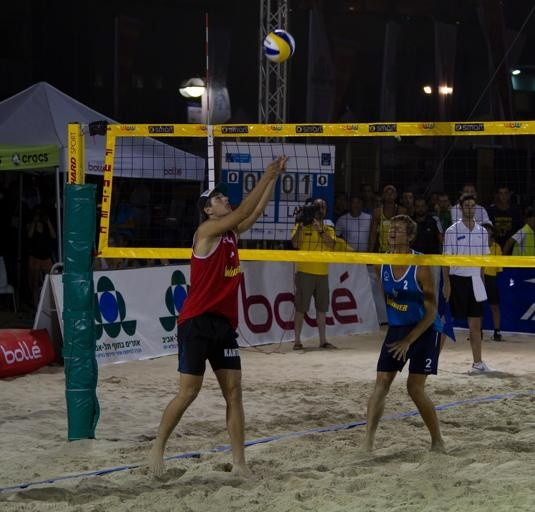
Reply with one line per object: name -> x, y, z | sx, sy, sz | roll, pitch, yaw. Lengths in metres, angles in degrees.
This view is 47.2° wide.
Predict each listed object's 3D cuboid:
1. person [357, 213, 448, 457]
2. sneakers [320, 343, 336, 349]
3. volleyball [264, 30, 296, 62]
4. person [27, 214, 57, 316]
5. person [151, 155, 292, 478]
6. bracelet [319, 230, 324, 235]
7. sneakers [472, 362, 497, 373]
person -> 0.855, 0.650, 3.871 | 0.493, 1.201, 0.374 | 0, 0, 17
sneakers -> 0.813, 1.216, 8.266 | 0.159, 0.079, 0.091 | -1, 3, 19
volleyball -> 0.114, -2.302, 6.853 | 0.348, 0.435, 0.381 | 18, 28, 36
person -> -3.849, 0.045, 10.435 | 0.471, 1.610, 0.695 | 0, 0, -23
person -> -0.284, 0.326, 3.479 | 0.752, 1.805, 0.548 | 0, 0, -13
bracelet -> 0.592, -0.265, 6.793 | 0.062, 0.079, 0.015 | 0, -6, 15
sneakers -> 2.429, 1.258, 6.908 | 0.271, 0.146, 0.102 | 1, 4, -2
